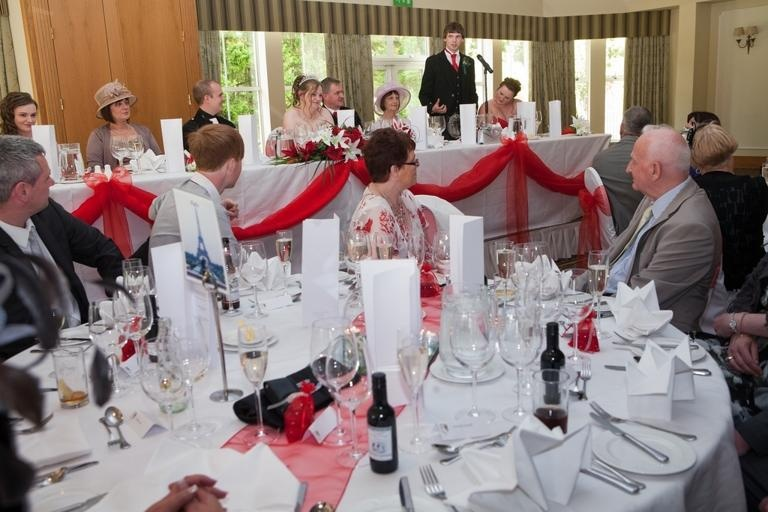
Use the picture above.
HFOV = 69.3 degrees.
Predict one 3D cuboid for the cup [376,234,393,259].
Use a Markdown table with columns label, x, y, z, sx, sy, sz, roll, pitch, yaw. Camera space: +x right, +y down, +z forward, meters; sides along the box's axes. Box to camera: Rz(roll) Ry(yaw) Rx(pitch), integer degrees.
| label | x | y | z | sx | sy | sz | roll | pitch | yaw |
| --- | --- | --- | --- | --- | --- | --- | --- | --- | --- |
| cup | -0.001 | -0.048 | 2.286 | 0.056 | 0.095 | 0.125 | -2 | 15 | 2 |

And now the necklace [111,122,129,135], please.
| label | x | y | z | sx | sy | sz | roll | pitch | yaw |
| --- | --- | --- | --- | --- | --- | --- | --- | --- | --- |
| necklace | -2.294 | -1.134 | 4.853 | 0.131 | 0.082 | 0.105 | 21 | 18 | 30 |

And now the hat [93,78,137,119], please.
| label | x | y | z | sx | sy | sz | roll | pitch | yaw |
| --- | --- | --- | --- | --- | --- | --- | --- | --- | --- |
| hat | -2.310 | -1.367 | 4.723 | 0.299 | 0.237 | 0.220 | -6 | 15 | -10 |

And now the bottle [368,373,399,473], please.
| label | x | y | z | sx | sy | sz | roll | pitch | yaw |
| --- | --- | --- | --- | --- | --- | --- | --- | --- | --- |
| bottle | -0.006 | 0.403 | 1.385 | 0.076 | 0.262 | 0.082 | -3 | 14 | 1 |

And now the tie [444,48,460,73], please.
| label | x | y | z | sx | sy | sz | roll | pitch | yaw |
| --- | --- | --- | --- | --- | --- | --- | --- | --- | --- |
| tie | 0.837 | -2.408 | 6.695 | 0.145 | 0.057 | 0.246 | -3 | 60 | -9 |

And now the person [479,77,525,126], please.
| label | x | y | z | sx | sy | sz | roll | pitch | yaw |
| --- | --- | --- | --- | --- | --- | --- | --- | --- | --- |
| person | 1.289 | -1.751 | 6.219 | 0.416 | 0.523 | 1.056 | 0 | 16 | 14 |

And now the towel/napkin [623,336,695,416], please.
| label | x | y | z | sx | sy | sz | roll | pitch | yaw |
| --- | --- | --- | --- | --- | --- | --- | --- | --- | --- |
| towel/napkin | 0.797 | 0.335 | 1.636 | 0.157 | 0.197 | 0.204 | -8 | 12 | 11 |

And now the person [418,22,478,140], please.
| label | x | y | z | sx | sy | sz | roll | pitch | yaw |
| --- | --- | --- | --- | --- | --- | --- | --- | --- | --- |
| person | 0.726 | -2.092 | 6.507 | 0.681 | 1.267 | 1.719 | 0 | 16 | 10 |

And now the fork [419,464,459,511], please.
| label | x | y | z | sx | sy | sz | roll | pitch | yaw |
| --- | --- | --- | --- | --- | --- | --- | --- | --- | --- |
| fork | 0.127 | 0.547 | 1.333 | 0.030 | 0.031 | 0.192 | -5 | 27 | -18 |

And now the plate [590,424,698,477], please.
| label | x | y | z | sx | sy | sz | roll | pitch | yaw |
| --- | --- | --- | --- | --- | --- | --- | --- | --- | --- |
| plate | 0.670 | 0.503 | 1.440 | 0.245 | 0.038 | 0.202 | 3 | 17 | 22 |

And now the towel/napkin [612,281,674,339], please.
| label | x | y | z | sx | sy | sz | roll | pitch | yaw |
| --- | --- | --- | --- | --- | --- | --- | --- | --- | --- |
| towel/napkin | 0.941 | 0.207 | 2.054 | 0.183 | 0.136 | 0.208 | 10 | -9 | -28 |

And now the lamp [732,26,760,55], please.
| label | x | y | z | sx | sy | sz | roll | pitch | yaw |
| --- | --- | --- | --- | --- | --- | --- | --- | --- | --- |
| lamp | 6.033 | -3.660 | 9.248 | 0.458 | 0.580 | 0.267 | 1 | 2 | 41 |

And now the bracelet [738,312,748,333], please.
| label | x | y | z | sx | sy | sz | roll | pitch | yaw |
| --- | --- | --- | --- | --- | --- | --- | --- | --- | --- |
| bracelet | 1.552 | 0.286 | 2.417 | 0.059 | 0.076 | 0.042 | 13 | -3 | -25 |

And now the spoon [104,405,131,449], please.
| label | x | y | z | sx | sy | sz | roll | pitch | yaw |
| --- | --- | --- | --- | --- | --- | --- | --- | --- | --- |
| spoon | -0.763 | 0.457 | 1.583 | 0.045 | 0.041 | 0.226 | -3 | 17 | -23 |

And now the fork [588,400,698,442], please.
| label | x | y | z | sx | sy | sz | roll | pitch | yaw |
| --- | --- | --- | --- | --- | --- | --- | --- | --- | --- |
| fork | 0.712 | 0.458 | 1.532 | 0.219 | 0.030 | 0.032 | 18 | 47 | 28 |

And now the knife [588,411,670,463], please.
| label | x | y | z | sx | sy | sz | roll | pitch | yaw |
| --- | --- | --- | --- | --- | --- | --- | --- | --- | --- |
| knife | 0.650 | 0.485 | 1.472 | 0.029 | 0.043 | 0.279 | -28 | 25 | -9 |
